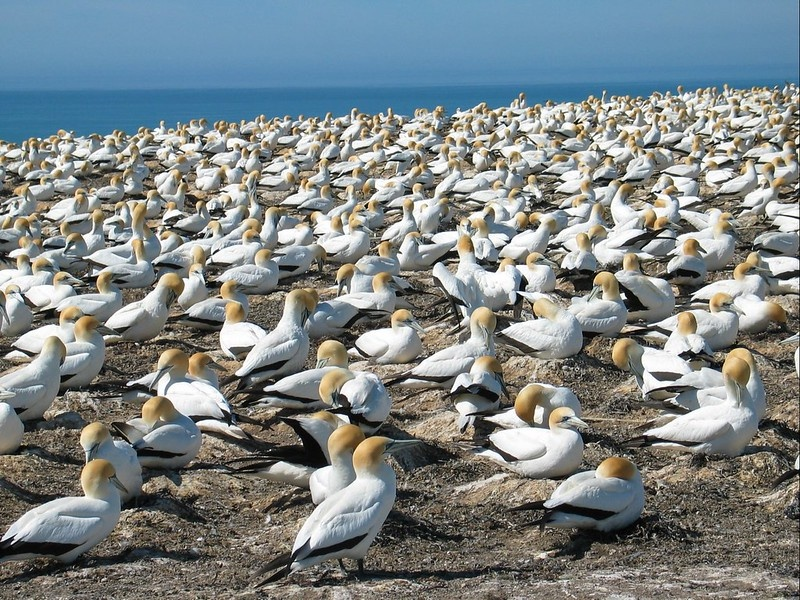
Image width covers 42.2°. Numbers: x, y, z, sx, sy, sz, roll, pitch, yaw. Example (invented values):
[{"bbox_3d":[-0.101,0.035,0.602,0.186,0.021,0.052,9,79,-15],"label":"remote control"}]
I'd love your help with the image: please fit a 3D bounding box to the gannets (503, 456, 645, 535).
[{"bbox_3d":[1.625,1.849,9.841,1.290,0.521,0.628,-3,-3,-13],"label":"gannets"}]
